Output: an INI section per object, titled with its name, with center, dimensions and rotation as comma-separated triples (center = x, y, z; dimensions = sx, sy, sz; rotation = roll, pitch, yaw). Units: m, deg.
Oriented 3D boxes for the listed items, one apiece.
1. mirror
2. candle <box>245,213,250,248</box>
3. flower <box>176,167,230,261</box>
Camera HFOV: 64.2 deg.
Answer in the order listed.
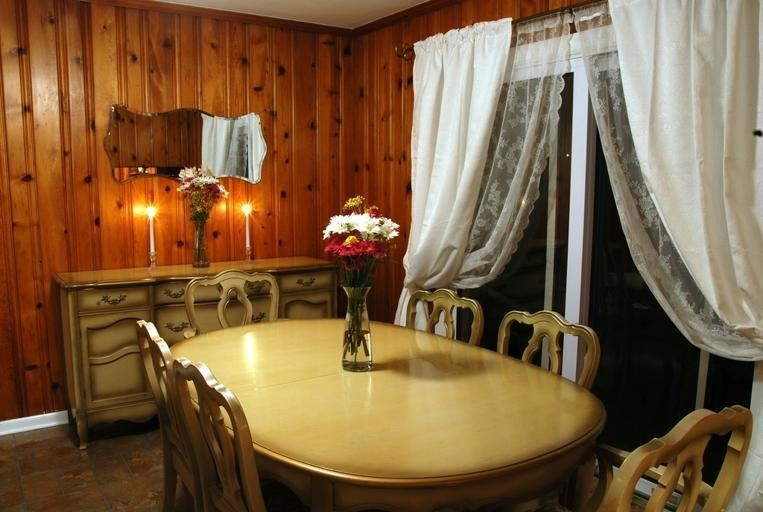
[mirror]
center = -1.556, -0.893, 4.900
dimensions = 1.245, 0.639, 0.069
rotation = -7, 8, -28
[candle]
center = -1.118, -0.209, 5.099
dimensions = 0.046, 0.281, 0.194
rotation = -4, 7, -12
[flower]
center = -1.419, -0.320, 4.879
dimensions = 0.358, 0.785, 0.305
rotation = -5, 7, -19
